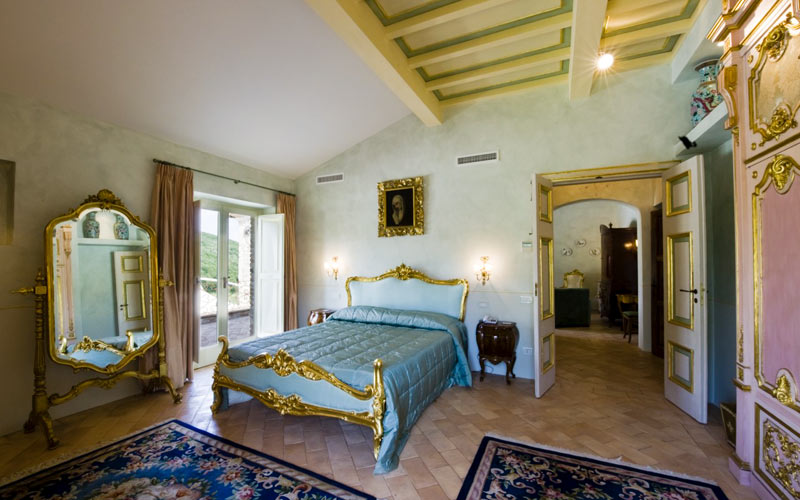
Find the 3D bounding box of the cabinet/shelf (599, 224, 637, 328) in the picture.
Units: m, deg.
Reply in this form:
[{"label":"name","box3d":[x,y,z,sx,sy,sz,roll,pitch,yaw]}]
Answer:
[{"label":"cabinet/shelf","box3d":[4.942,0.577,11.516,0.752,2.112,0.946,1,14,21]}]

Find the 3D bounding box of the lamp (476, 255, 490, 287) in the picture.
[{"label":"lamp","box3d":[1.336,0.337,8.175,0.228,0.476,0.118,-2,14,8]}]

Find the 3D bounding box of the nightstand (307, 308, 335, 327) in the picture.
[{"label":"nightstand","box3d":[-1.435,1.200,9.039,0.362,0.330,0.296,-1,-2,20]}]

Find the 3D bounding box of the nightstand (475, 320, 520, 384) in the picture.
[{"label":"nightstand","box3d":[1.504,1.584,7.875,0.653,0.899,0.463,-1,14,13]}]
